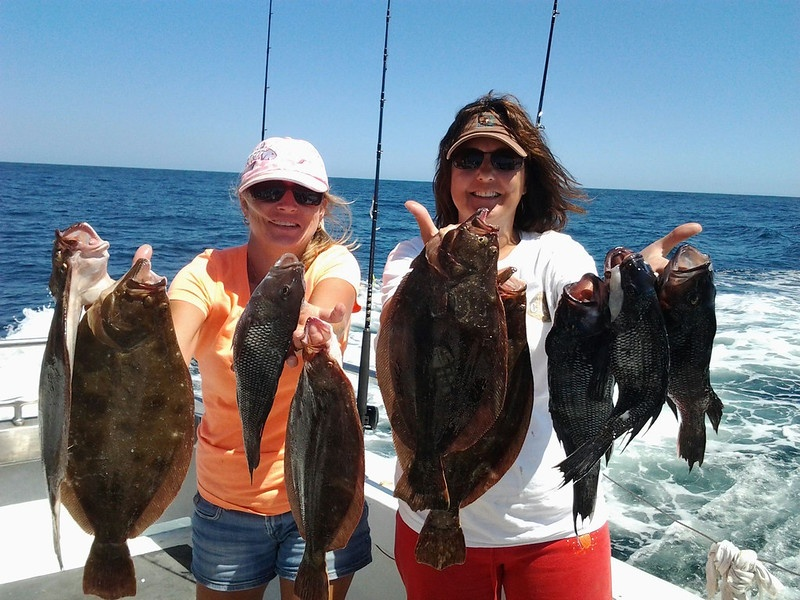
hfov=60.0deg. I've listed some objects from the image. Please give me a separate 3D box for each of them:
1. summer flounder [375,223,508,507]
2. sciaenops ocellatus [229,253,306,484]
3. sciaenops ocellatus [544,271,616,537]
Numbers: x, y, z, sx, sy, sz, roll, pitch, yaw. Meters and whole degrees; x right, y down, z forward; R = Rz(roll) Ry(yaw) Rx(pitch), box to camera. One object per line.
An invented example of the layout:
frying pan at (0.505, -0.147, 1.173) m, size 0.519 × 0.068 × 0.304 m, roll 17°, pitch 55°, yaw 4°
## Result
summer flounder at (0.170, 0.260, 2.996) m, size 0.552 × 1.273 × 0.218 m, roll 1°, pitch 6°, yaw 0°
sciaenops ocellatus at (-0.573, 0.262, 3.024) m, size 0.280 × 0.923 × 0.160 m, roll -2°, pitch 7°, yaw -30°
sciaenops ocellatus at (0.884, 0.476, 3.108) m, size 0.436 × 1.209 × 0.336 m, roll 2°, pitch 12°, yaw 18°
